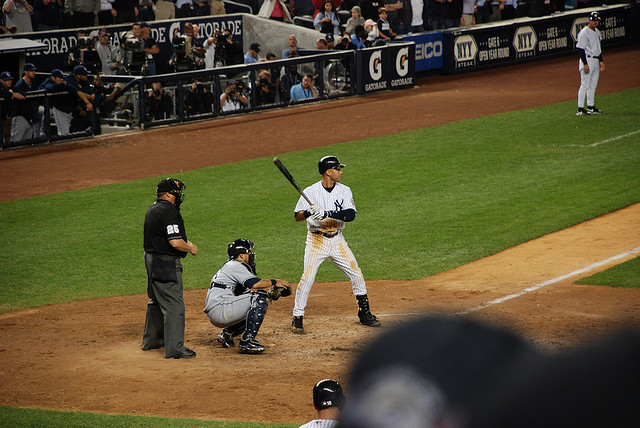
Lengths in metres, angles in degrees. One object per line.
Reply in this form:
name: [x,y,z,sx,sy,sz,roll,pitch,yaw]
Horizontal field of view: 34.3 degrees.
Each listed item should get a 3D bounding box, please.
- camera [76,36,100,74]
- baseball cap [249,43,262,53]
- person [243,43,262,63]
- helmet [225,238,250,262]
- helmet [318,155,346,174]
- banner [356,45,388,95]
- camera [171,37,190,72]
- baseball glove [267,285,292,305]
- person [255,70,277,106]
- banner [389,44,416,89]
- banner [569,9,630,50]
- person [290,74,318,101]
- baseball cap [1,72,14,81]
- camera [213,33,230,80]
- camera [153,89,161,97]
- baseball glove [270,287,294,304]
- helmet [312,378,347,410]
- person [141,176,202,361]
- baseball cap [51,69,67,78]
camera: [-6.791,-4.670,30.687,0.650,1.040,0.376,-3,13,-23]
baseball cap: [-2.102,-5.388,34.005,0.540,0.268,0.361,6,23,2]
person: [-2.104,-5.281,34.034,0.881,0.464,0.533,6,30,6]
helmet: [-1.490,0.683,18.994,0.422,0.385,0.228,2,14,25]
helmet: [0.218,-0.922,19.429,0.466,0.219,0.303,-11,5,0]
banner: [1.787,-4.838,35.148,1.528,1.549,0.391,-13,16,-37]
camera: [-4.177,-4.823,31.457,0.418,1.004,0.578,-6,13,-8]
baseball glove: [-0.741,1.442,19.101,0.412,0.266,0.252,-4,12,-6]
person: [-1.702,-3.983,32.898,0.677,0.917,0.359,4,8,-3]
banner: [2.819,-5.092,35.994,0.456,1.499,1.322,7,16,40]
banner: [11.402,-7.496,42.215,3.722,1.464,0.771,-13,16,-42]
person: [-0.520,-4.082,33.854,1.150,0.937,0.560,-3,20,-20]
baseball cap: [-8.550,-3.726,28.201,0.441,0.169,0.304,5,9,31]
camera: [-3.225,-5.402,34.268,0.573,1.101,0.671,-5,13,-4]
camera: [-4.802,-3.554,30.650,0.179,0.243,0.260,-3,12,3]
baseball glove: [-0.720,1.493,19.124,0.412,0.184,0.250,-12,-6,5]
helmet: [0.079,2.450,14.399,0.466,0.464,0.566,1,10,15]
person: [-2.739,0.991,18.534,1.033,3.101,1.050,-6,13,-7]
baseball cap: [-7.287,-3.920,29.085,0.424,0.186,0.248,-6,10,-5]
